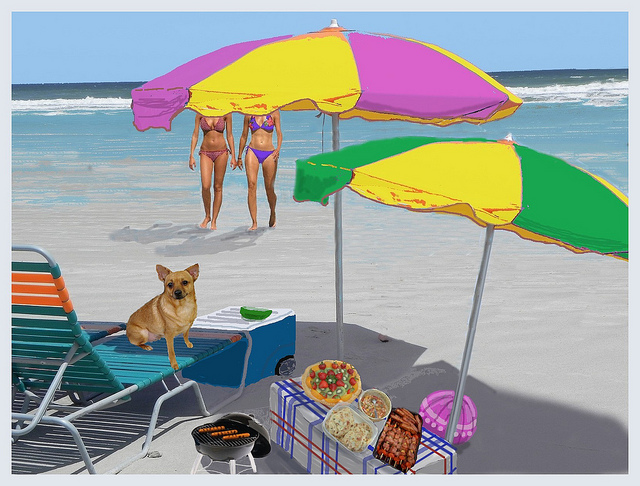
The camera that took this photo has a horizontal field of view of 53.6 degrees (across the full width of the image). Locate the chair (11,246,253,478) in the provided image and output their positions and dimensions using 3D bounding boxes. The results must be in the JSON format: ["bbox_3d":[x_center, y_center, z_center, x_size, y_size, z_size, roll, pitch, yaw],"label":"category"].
[{"bbox_3d":[-1.647,1.016,5.232,1.619,2.098,1.499,6,10,30],"label":"chair"}]

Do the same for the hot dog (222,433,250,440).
[{"bbox_3d":[-0.599,1.388,4.525,0.194,0.018,0.046,-2,14,-16],"label":"hot dog"}]

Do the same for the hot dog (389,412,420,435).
[{"bbox_3d":[0.586,1.274,4.442,0.100,0.037,0.151,-14,39,-38],"label":"hot dog"}]
